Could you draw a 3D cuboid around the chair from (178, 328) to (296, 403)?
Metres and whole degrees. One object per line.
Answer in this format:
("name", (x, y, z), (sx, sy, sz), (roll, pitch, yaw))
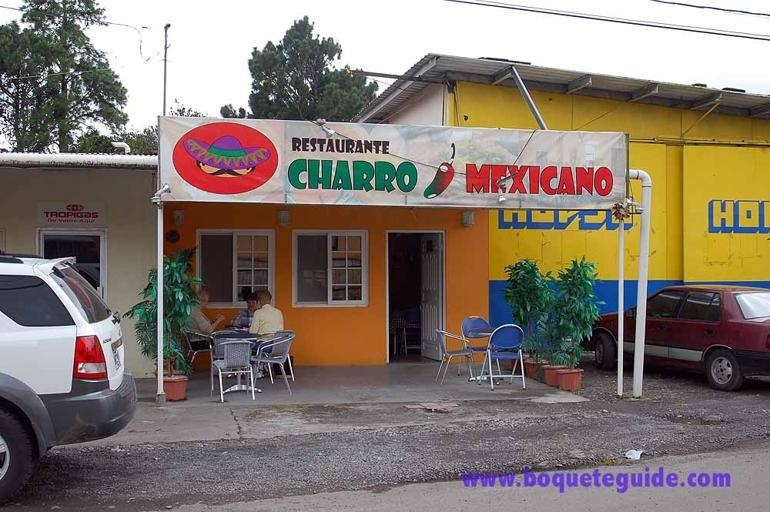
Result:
("chair", (-2.442, 1.861, 12.354), (1.460, 0.751, 1.344), (2, -6, -7))

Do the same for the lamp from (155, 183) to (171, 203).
("lamp", (-3.673, -1.002, 11.527), (0.304, 0.332, 0.187), (1, 6, 15))

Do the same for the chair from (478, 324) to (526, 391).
("chair", (2.270, 1.821, 13.593), (0.873, 1.289, 1.933), (1, 5, 11))

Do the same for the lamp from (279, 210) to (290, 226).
("lamp", (-2.128, -0.813, 14.880), (0.319, 0.290, 0.074), (-1, 3, -7))

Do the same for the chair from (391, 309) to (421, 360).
("chair", (0.530, 1.878, 17.242), (0.830, 0.933, 1.287), (1, -4, -2))

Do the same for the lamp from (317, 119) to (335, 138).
("lamp", (-1.029, -2.166, 11.948), (0.225, 0.280, 0.333), (4, 7, 39))

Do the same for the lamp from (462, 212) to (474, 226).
("lamp", (1.835, -0.813, 15.506), (0.263, 0.336, 0.193), (0, 6, -3))

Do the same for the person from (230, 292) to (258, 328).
("person", (-2.679, 1.138, 13.831), (0.532, 0.791, 0.484), (7, -5, -21))
